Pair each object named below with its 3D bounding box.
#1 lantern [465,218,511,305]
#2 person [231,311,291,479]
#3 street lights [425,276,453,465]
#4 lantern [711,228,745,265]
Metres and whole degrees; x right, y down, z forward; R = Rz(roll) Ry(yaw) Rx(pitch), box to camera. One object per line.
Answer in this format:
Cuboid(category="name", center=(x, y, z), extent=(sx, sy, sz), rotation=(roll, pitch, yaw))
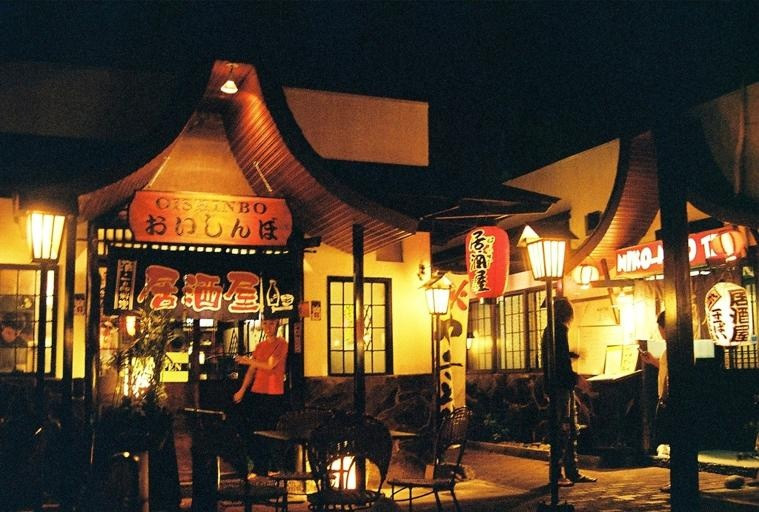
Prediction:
Cuboid(category="lantern", center=(2.033, 0.136, 16.838), extent=(0.815, 1.463, 0.586), rotation=(-2, -11, 10))
Cuboid(category="person", center=(-2.122, 2.576, 16.327), extent=(0.998, 2.710, 1.190), rotation=(2, -1, -11))
Cuboid(category="street lights", center=(1.113, 2.107, 17.412), extent=(0.628, 3.224, 0.761), rotation=(0, -1, -7))
Cuboid(category="lantern", center=(6.132, -0.131, 15.521), extent=(0.632, 0.665, 0.611), rotation=(4, -8, -32))
